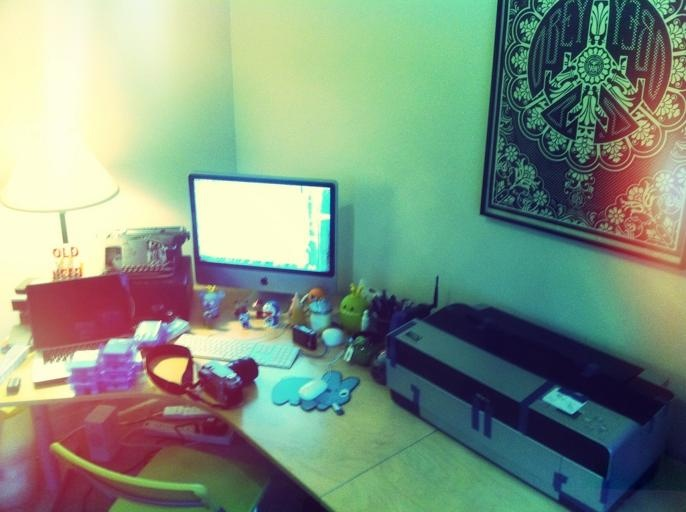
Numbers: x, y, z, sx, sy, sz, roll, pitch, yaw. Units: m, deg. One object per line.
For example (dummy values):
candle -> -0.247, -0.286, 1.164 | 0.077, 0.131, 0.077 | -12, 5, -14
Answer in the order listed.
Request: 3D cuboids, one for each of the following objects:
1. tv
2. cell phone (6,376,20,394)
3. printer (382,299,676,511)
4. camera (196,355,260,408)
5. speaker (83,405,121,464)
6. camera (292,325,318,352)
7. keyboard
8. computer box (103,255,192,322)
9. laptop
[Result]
tv -> -0.348, -0.115, 2.382 | 0.644, 0.633, 0.109 | 2, 19, -2
cell phone -> -1.249, 0.491, 2.105 | 0.038, 0.017, 0.071 | 0, 30, -16
printer -> 0.745, 0.458, 2.041 | 0.750, 0.502, 0.942 | -14, 24, -39
camera -> -0.438, 0.445, 2.150 | 0.224, 0.149, 0.176 | -12, 22, -38
speaker -> -1.108, 0.820, 2.622 | 0.135, 0.240, 0.204 | -5, 19, -14
camera -> -0.166, 0.355, 2.366 | 0.081, 0.058, 0.029 | 21, 32, 40
keyboard -> -0.473, 0.418, 2.411 | 0.575, 0.045, 0.198 | 16, -17, -2
computer box -> -0.877, 0.139, 2.540 | 0.210, 0.280, 0.297 | 5, 18, 1
laptop -> -1.104, 0.246, 2.350 | 0.465, 0.353, 0.393 | -9, 41, -24
